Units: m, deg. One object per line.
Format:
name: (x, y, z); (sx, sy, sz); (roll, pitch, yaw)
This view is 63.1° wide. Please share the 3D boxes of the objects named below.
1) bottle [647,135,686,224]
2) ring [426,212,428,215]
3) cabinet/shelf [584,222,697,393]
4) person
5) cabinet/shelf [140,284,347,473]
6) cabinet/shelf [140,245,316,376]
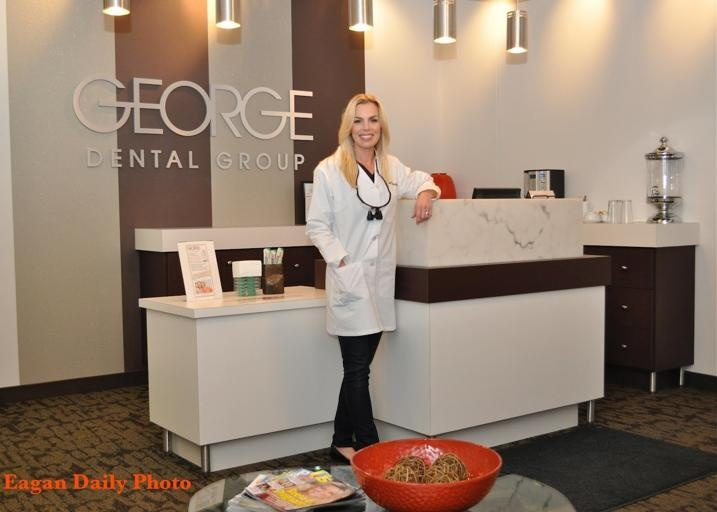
bottle: (2.664, -0.659, 5.125); (0.289, 0.734, 0.361); (2, 5, 28)
ring: (0.401, -0.245, 3.472); (0.012, 0.022, 0.012); (0, 7, 0)
cabinet/shelf: (2.477, 0.395, 5.422); (0.723, 1.323, 1.031); (-2, 4, -27)
person: (0.067, 0.154, 3.503); (0.722, 2.190, 0.385); (-4, 6, -33)
cabinet/shelf: (-0.725, 0.789, 3.879); (0.664, 0.929, 1.125); (-3, -3, 45)
cabinet/shelf: (-0.876, 0.361, 3.819); (1.111, 0.726, 0.356); (-3, 2, -33)
